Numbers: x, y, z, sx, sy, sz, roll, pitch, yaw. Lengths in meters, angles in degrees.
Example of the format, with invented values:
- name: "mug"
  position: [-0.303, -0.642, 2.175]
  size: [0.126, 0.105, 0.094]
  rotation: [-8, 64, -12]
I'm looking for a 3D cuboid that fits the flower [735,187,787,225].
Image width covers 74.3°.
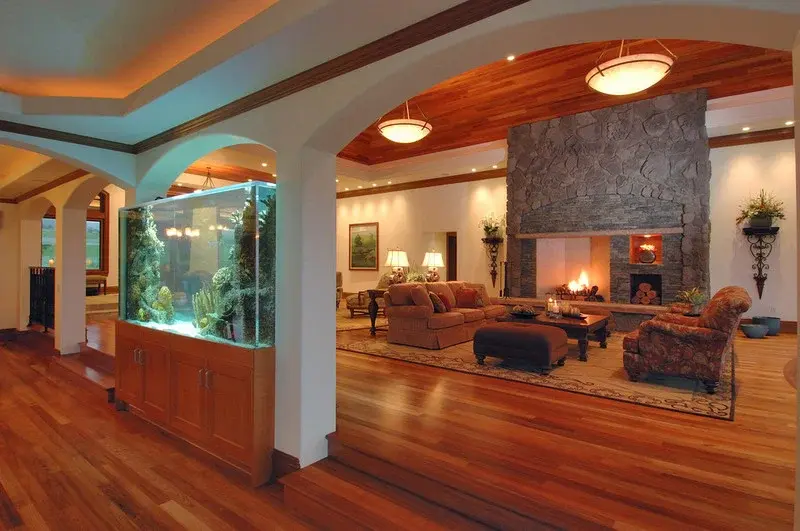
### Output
- name: "flower"
  position: [6.526, -1.094, 9.455]
  size: [0.535, 0.377, 0.492]
  rotation: [-4, 7, -28]

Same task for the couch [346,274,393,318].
- name: "couch"
  position: [-0.881, 0.842, 12.699]
  size: [1.249, 1.087, 0.886]
  rotation: [0, -27, -23]

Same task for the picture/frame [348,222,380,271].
- name: "picture/frame"
  position: [-1.005, -0.546, 14.396]
  size: [0.177, 1.279, 1.099]
  rotation: [-2, 2, -45]

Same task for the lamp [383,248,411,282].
- name: "lamp"
  position: [-0.081, 0.035, 11.659]
  size: [0.580, 0.845, 0.547]
  rotation: [0, 1, 30]

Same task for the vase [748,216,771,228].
- name: "vase"
  position: [6.387, -0.784, 9.331]
  size: [0.245, 0.147, 0.263]
  rotation: [0, 3, -8]

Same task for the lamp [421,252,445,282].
- name: "lamp"
  position: [0.746, 0.002, 12.474]
  size: [0.696, 0.878, 0.722]
  rotation: [-2, 2, -4]

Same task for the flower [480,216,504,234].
- name: "flower"
  position: [2.076, -0.942, 12.033]
  size: [0.403, 0.450, 0.464]
  rotation: [-1, -1, 34]

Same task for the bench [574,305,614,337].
- name: "bench"
  position: [3.578, 0.933, 9.483]
  size: [0.615, 0.282, 0.566]
  rotation: [1, 3, 39]

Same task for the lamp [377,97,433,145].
- name: "lamp"
  position: [0.097, -2.748, 10.010]
  size: [0.865, 0.926, 2.025]
  rotation: [0, 2, 2]

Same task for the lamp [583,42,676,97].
- name: "lamp"
  position: [3.309, -2.874, 7.672]
  size: [1.110, 0.497, 0.593]
  rotation: [1, 2, 20]

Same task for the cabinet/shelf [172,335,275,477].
- name: "cabinet/shelf"
  position: [-1.886, 1.529, 5.740]
  size: [1.611, 1.072, 0.317]
  rotation: [-2, -6, 41]

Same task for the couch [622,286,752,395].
- name: "couch"
  position: [3.940, 0.911, 7.192]
  size: [1.466, 1.208, 1.534]
  rotation: [0, 0, 33]

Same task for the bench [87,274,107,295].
- name: "bench"
  position: [-7.178, 0.445, 12.474]
  size: [0.467, 0.510, 0.646]
  rotation: [-2, 3, -25]
